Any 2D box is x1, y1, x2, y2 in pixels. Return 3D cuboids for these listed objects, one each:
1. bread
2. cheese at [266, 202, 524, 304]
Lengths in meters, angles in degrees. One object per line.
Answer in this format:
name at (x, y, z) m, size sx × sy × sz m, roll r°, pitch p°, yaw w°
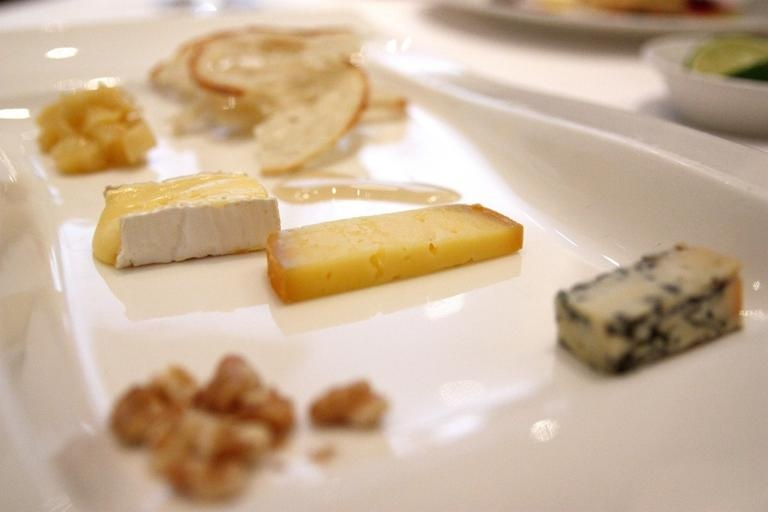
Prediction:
bread at (0.282, 0.067, 0.689) m, size 0.179 × 0.073 × 0.099 m, roll -18°, pitch 29°, yaw -14°
cheese at (0.011, -0.013, 0.798) m, size 0.315 × 0.052 × 0.129 m, roll -11°, pitch 22°, yaw -26°
